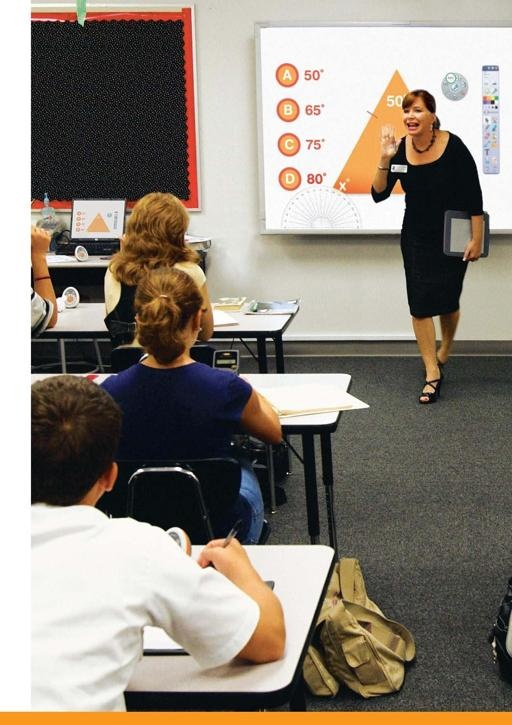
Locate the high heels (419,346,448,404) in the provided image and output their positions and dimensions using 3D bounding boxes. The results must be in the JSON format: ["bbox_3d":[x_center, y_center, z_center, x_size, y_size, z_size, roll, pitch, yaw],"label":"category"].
[{"bbox_3d":[1.295,0.117,4.404,0.138,0.199,0.506,5,45,22],"label":"high heels"}]

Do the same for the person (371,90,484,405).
[{"bbox_3d":[1.192,-0.789,4.177,0.762,2.111,0.409,2,14,20],"label":"person"}]
